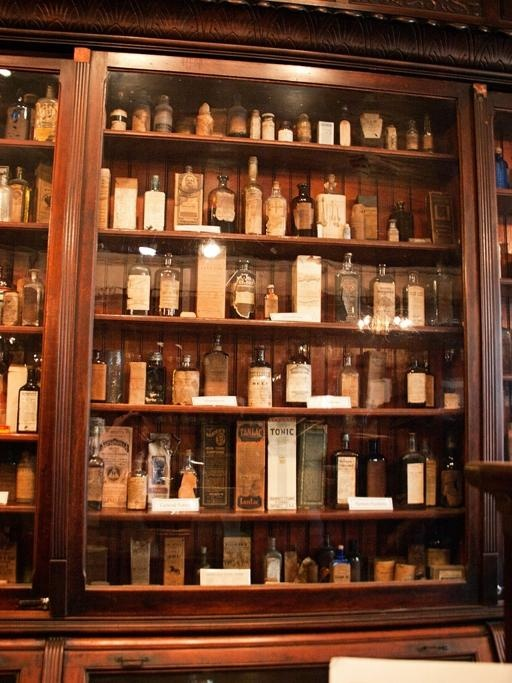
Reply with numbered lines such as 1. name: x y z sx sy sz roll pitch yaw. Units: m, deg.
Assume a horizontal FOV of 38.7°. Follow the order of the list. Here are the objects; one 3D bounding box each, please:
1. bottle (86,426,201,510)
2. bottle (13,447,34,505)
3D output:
1. bottle: -0.334 0.376 2.178 0.332 0.266 0.052 5 -14 -24
2. bottle: -0.661 0.390 2.093 0.076 0.145 0.017 -11 -16 36
